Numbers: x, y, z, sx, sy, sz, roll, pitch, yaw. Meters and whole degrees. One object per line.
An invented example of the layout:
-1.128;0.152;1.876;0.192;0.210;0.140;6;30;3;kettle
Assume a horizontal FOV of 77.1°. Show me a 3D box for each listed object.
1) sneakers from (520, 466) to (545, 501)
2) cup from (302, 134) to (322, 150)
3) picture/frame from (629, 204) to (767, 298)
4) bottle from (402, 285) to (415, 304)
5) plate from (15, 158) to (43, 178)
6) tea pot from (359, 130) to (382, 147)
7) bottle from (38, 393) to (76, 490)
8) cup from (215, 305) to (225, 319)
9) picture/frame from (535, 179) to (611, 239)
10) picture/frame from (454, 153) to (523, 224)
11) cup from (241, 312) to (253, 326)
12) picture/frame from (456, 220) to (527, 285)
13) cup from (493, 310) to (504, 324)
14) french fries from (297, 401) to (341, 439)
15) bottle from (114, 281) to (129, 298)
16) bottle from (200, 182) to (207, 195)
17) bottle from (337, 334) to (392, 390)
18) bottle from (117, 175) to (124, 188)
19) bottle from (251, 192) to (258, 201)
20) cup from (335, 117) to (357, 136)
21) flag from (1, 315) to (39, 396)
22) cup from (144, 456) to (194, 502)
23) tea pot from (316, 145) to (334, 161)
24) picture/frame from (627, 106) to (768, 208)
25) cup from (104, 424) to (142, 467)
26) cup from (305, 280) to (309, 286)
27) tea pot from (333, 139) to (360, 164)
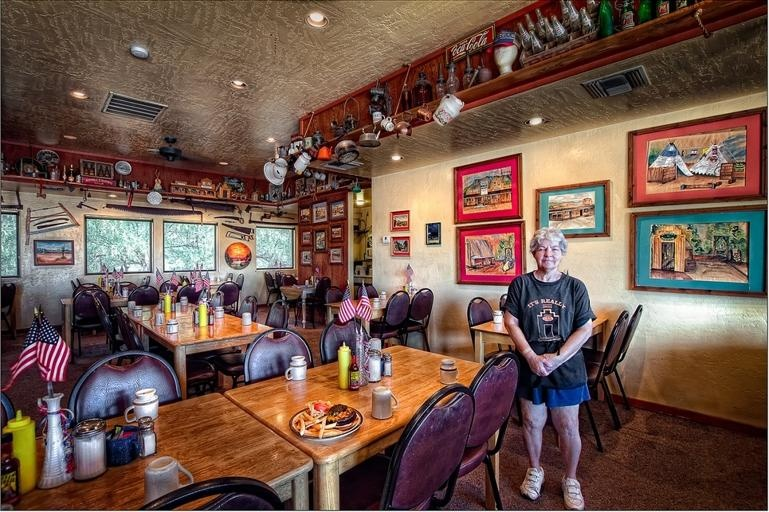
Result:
1.278;1.989;4.229;0.143;0.138;0.308;-2;-10;24;sneakers
-0.867;-1.439;6.078;0.344;0.208;0.110;-3;0;31;cup
3.367;-0.064;5.116;1.057;0.740;0.087;0;-1;31;picture/frame
0.344;0.515;7.027;0.193;0.347;0.193;-1;-3;0;bottle
-5.420;-1.367;7.408;0.349;0.309;0.103;-2;0;-36;plate
-0.170;-1.351;5.555;0.247;0.175;0.384;-2;-1;9;tea pot
-2.251;1.250;3.303;0.186;0.683;0.194;-2;0;0;bottle
-1.914;0.663;5.697;0.119;0.121;0.117;0;-5;0;cup
2.237;-0.555;5.648;0.818;0.658;0.059;2;4;40;picture/frame
1.409;-0.910;6.398;0.990;0.773;0.052;1;2;41;picture/frame
-1.518;0.707;5.421;0.133;0.145;0.131;0;-3;0;cup
1.430;-0.054;6.314;0.887;0.747;0.088;-3;-4;38;picture/frame
1.264;0.681;5.446;0.108;0.116;0.132;-4;-7;41;cup
-0.481;1.202;3.577;0.242;0.084;0.236;3;1;-33;french fries
-4.296;0.547;7.913;0.224;0.288;0.163;3;-3;-35;bottle
-3.387;-1.290;9.119;0.126;0.262;0.064;-2;0;-15;bottle
-0.166;0.898;4.166;0.447;0.495;0.362;-1;0;23;bottle
-4.474;-1.279;8.242;0.119;0.222;0.082;-2;0;-30;bottle
-2.687;-1.248;10.041;0.102;0.184;0.246;-2;-1;8;bottle
-0.480;-1.544;5.766;0.307;0.258;0.120;-3;0;29;cup
-2.708;0.732;3.603;0.241;0.604;0.586;-2;0;-36;flag
-1.418;1.488;3.291;0.358;0.327;0.217;4;-9;-20;cup
-0.698;-1.246;5.925;0.123;0.195;0.211;-3;-18;32;tea pot
3.351;-1.059;5.101;1.139;0.808;0.088;0;1;34;picture/frame
-1.846;1.342;3.429;0.207;0.291;0.162;-2;0;-28;cup
-1.471;0.501;9.275;0.096;0.105;0.095;-1;-7;0;cup
-0.453;-1.278;5.763;0.255;0.271;0.298;-2;0;-6;tea pot
